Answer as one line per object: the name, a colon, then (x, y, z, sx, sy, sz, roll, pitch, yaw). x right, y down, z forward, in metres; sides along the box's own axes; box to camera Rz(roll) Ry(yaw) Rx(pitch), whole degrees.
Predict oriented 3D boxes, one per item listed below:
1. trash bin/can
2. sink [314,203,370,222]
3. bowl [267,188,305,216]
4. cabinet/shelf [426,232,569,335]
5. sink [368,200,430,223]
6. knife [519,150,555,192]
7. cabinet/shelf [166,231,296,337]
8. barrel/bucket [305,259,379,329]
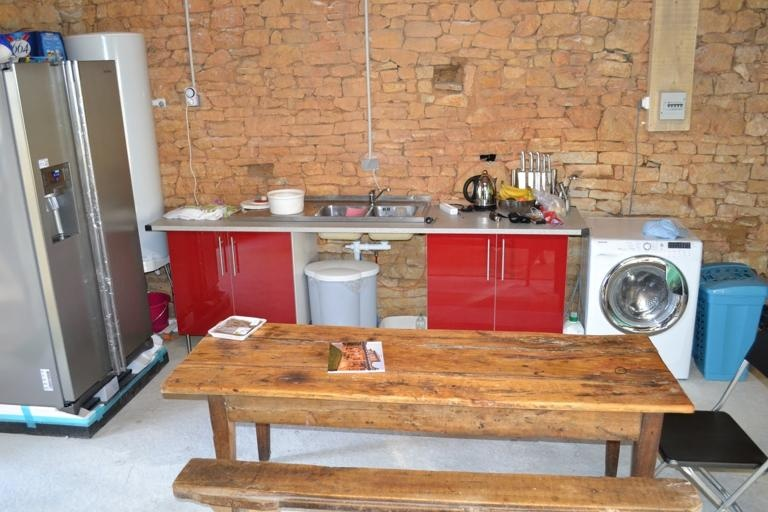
trash bin/can: (-0.349, 0.347, 5.135, 0.644, 0.479, 0.613, -15, 21, -32)
sink: (-0.357, -0.407, 5.190, 0.357, 0.089, 0.226, 3, 19, 5)
bowl: (-0.835, -0.458, 4.957, 0.306, 0.117, 0.291, -1, 18, 0)
cabinet/shelf: (0.919, 0.192, 4.560, 1.152, 0.706, 0.349, 1, 16, 6)
sink: (0.138, -0.407, 5.018, 0.369, 0.117, 0.314, 2, 29, 6)
knife: (1.315, -0.736, 4.999, 0.346, 0.337, 0.303, 1, 18, 11)
cabinet/shelf: (-1.227, 0.194, 4.731, 1.344, 0.737, 0.412, 0, 10, 4)
barrel/bucket: (-0.340, 0.322, 5.141, 0.771, 0.497, 0.656, 4, 13, 19)
